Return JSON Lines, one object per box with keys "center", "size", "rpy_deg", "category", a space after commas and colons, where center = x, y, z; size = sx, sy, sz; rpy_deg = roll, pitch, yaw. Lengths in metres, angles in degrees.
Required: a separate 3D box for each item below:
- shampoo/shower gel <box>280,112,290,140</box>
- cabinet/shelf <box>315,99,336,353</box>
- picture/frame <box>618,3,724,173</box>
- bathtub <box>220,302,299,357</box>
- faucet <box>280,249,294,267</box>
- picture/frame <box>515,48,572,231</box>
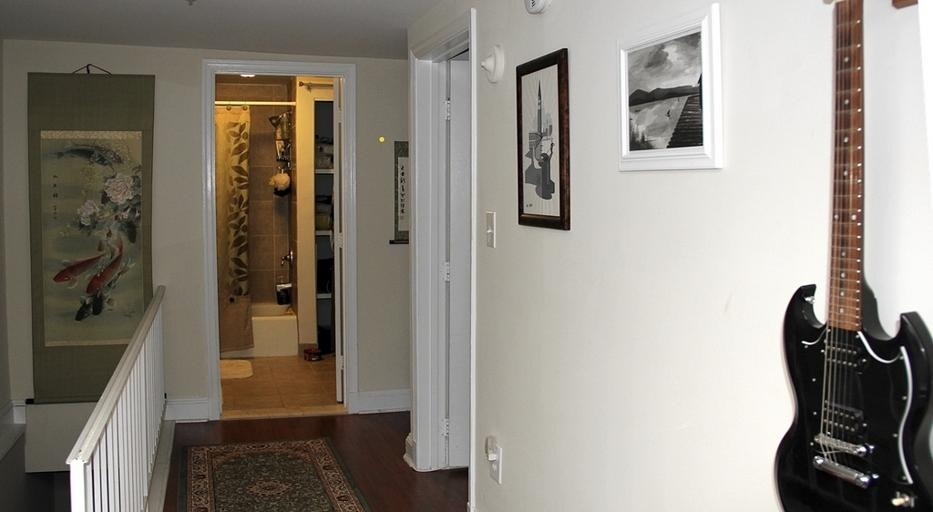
{"center": [-2.217, -1.606, 7.667], "size": [0.119, 0.312, 0.093], "rpy_deg": [-1, 8, -15], "category": "shampoo/shower gel"}
{"center": [-1.681, -0.331, 7.385], "size": [0.210, 2.980, 0.256], "rpy_deg": [-1, 8, -16], "category": "cabinet/shelf"}
{"center": [0.862, -0.695, 2.567], "size": [0.051, 0.725, 0.741], "rpy_deg": [-2, 6, -30], "category": "picture/frame"}
{"center": [-2.435, 0.940, 7.620], "size": [0.604, 0.349, 0.851], "rpy_deg": [-1, 5, -17], "category": "bathtub"}
{"center": [-2.277, 0.014, 7.947], "size": [0.180, 0.075, 0.238], "rpy_deg": [-3, 14, -20], "category": "faucet"}
{"center": [0.406, -0.614, 3.274], "size": [0.105, 0.898, 0.499], "rpy_deg": [-2, 9, -20], "category": "picture/frame"}
